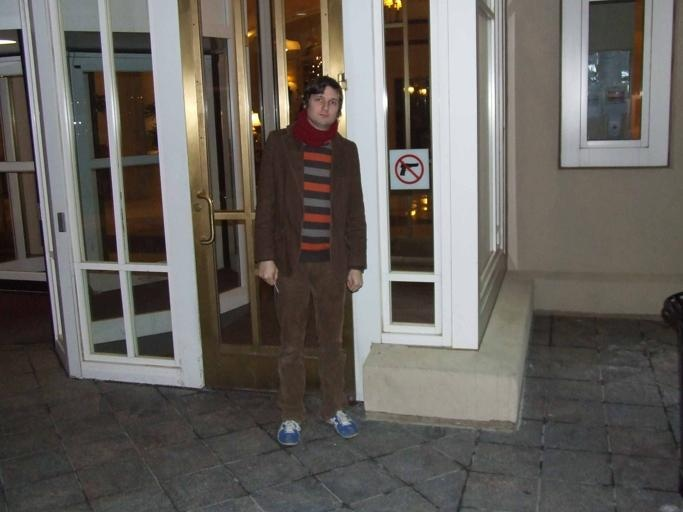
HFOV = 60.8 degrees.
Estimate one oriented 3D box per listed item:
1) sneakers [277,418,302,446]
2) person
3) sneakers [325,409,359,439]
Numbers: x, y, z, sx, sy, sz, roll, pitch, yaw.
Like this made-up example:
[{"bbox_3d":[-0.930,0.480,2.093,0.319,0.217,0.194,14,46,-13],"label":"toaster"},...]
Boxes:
[{"bbox_3d":[-0.307,1.046,3.446,0.106,0.085,0.186,1,-2,-6],"label":"sneakers"},{"bbox_3d":[-0.165,0.036,3.380,0.658,2.056,0.417,-4,14,-10],"label":"person"},{"bbox_3d":[0.013,1.016,3.524,0.080,0.096,0.218,-3,0,-31],"label":"sneakers"}]
